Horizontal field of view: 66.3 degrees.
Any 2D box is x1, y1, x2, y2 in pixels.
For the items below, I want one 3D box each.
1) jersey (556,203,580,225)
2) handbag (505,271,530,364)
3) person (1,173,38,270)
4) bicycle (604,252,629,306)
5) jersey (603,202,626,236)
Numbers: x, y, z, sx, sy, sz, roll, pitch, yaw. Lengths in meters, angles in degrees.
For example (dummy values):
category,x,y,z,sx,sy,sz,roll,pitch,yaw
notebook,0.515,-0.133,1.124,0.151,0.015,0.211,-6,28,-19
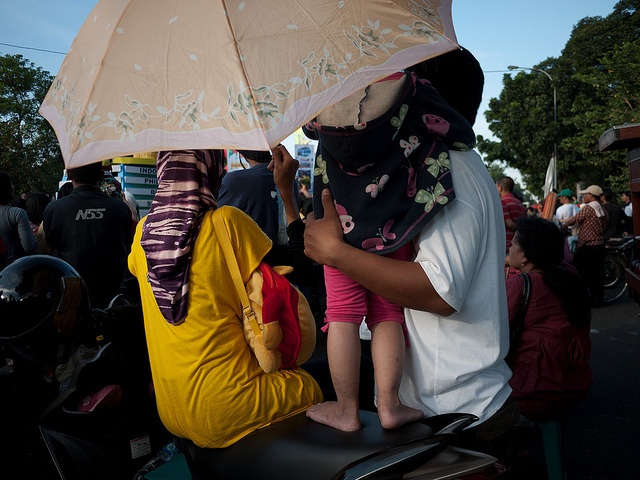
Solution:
category,x,y,z,sx,sy,sz,roll,pitch,yaw
jersey,5.509,-0.576,10.919,0.294,0.610,0.476,-9,19,-42
handbag,1.193,0.478,2.955,0.110,0.564,0.271,5,-4,30
person,-3.448,-0.266,5.594,0.358,1.023,0.942,-5,7,-31
bicycle,5.499,0.653,9.137,0.368,0.720,1.423,1,8,31
jersey,6.098,-0.411,10.193,0.564,0.680,0.353,1,-2,22
